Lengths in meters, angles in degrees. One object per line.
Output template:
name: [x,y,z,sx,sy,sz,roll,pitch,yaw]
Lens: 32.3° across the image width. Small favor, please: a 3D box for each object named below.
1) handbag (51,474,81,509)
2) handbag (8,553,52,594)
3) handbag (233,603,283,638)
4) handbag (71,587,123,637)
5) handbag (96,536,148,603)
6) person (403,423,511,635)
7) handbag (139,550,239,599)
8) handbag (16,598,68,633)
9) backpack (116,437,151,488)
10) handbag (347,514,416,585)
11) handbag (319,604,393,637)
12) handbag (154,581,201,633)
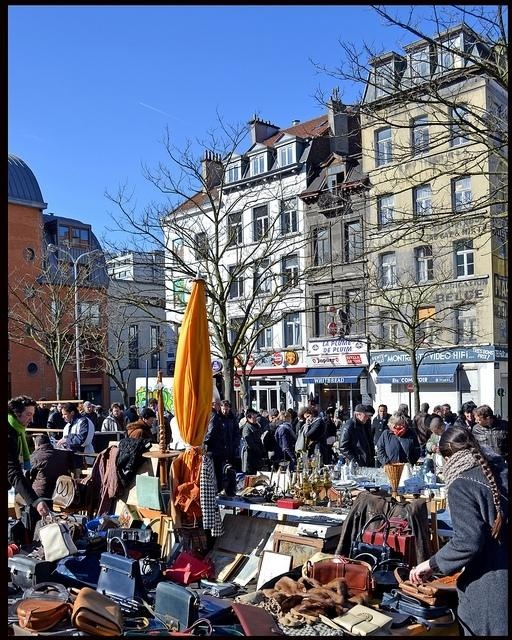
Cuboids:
handbag: [-2.200,1.999,10.224,0.308,0.488,0.233,4,-9,12]
handbag: [-1.866,2.152,7.446,0.380,0.388,0.271,-7,-10,38]
handbag: [0.017,2.201,6.440,0.343,0.163,0.515,1,-7,-6]
handbag: [-1.096,2.086,6.266,0.382,0.309,0.384,7,-9,-43]
handbag: [-1.133,2.149,7.528,0.310,0.398,0.133,-11,-17,40]
person: [1.350,1.332,5.529,0.445,1.307,0.346,-1,-6,11]
handbag: [-0.728,2.366,8.213,0.473,0.265,0.653,-3,-13,39]
handbag: [-1.529,2.140,6.371,0.373,0.168,0.299,2,-7,-13]
backpack: [-1.390,1.693,10.362,0.166,0.507,0.441,21,-13,-41]
handbag: [1.068,1.908,7.404,0.466,0.764,0.398,1,-3,28]
handbag: [0.714,2.100,6.181,0.273,0.146,0.523,4,-8,-29]
handbag: [-0.592,2.201,6.793,0.200,0.308,0.564,4,-7,-28]
